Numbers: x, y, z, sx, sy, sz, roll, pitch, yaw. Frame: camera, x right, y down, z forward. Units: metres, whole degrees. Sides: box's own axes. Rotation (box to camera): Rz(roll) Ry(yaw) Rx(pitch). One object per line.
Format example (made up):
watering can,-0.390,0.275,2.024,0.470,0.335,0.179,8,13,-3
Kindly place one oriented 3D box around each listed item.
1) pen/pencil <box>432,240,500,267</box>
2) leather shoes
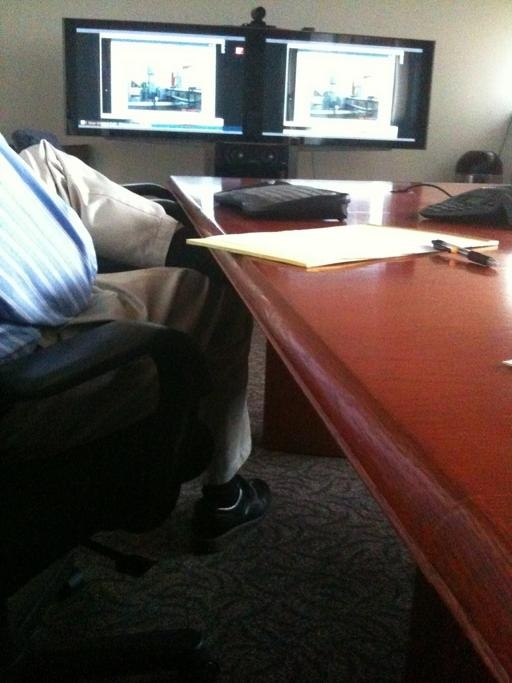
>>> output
pen/pencil,0.167,-0.076,0.456,0.015,0.016,0.072,-18,27,-15
leather shoes,-0.026,0.225,0.750,0.049,0.050,0.126,9,21,32
